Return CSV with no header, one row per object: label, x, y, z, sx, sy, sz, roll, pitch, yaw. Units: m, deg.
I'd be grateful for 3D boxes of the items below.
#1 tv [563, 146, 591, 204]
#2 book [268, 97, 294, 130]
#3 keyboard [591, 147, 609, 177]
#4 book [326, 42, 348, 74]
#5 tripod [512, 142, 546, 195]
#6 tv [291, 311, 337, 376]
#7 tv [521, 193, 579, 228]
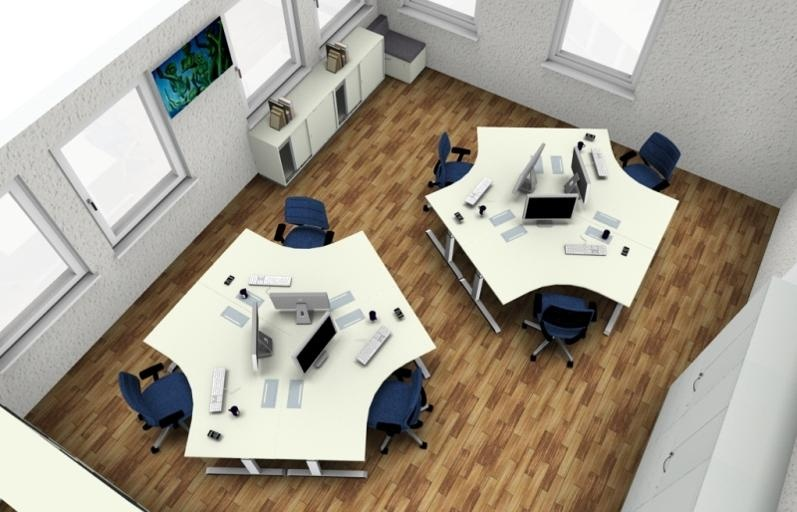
tv,2.580,-1.157,8.573,0.265,0.569,0.761,-11,56,0
book,-1.839,-2.216,9.229,0.333,0.334,0.270,37,64,10
keyboard,2.996,-1.403,8.835,0.181,0.111,0.528,-2,57,-4
book,-1.020,-3.262,9.729,0.341,0.402,0.218,33,61,15
tripod,1.923,-1.268,8.707,0.215,0.544,0.764,28,71,21
tv,-1.076,1.141,7.545,0.174,0.481,0.677,25,60,17
tv,2.128,-0.642,8.303,0.550,0.416,0.162,0,50,2
